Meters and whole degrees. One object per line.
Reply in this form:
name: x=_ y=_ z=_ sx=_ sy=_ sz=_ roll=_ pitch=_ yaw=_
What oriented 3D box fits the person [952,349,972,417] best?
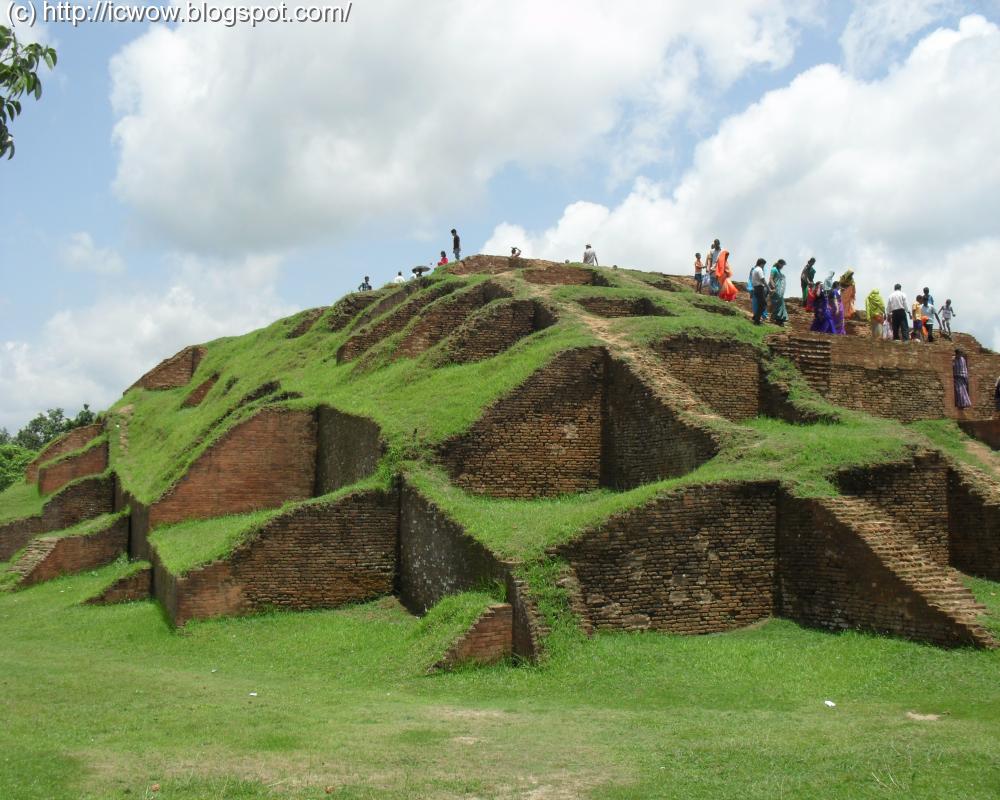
person: x=8.160 y=-0.320 z=20.434 sx=0.309 sy=1.198 sz=0.688 roll=-2 pitch=0 yaw=21
